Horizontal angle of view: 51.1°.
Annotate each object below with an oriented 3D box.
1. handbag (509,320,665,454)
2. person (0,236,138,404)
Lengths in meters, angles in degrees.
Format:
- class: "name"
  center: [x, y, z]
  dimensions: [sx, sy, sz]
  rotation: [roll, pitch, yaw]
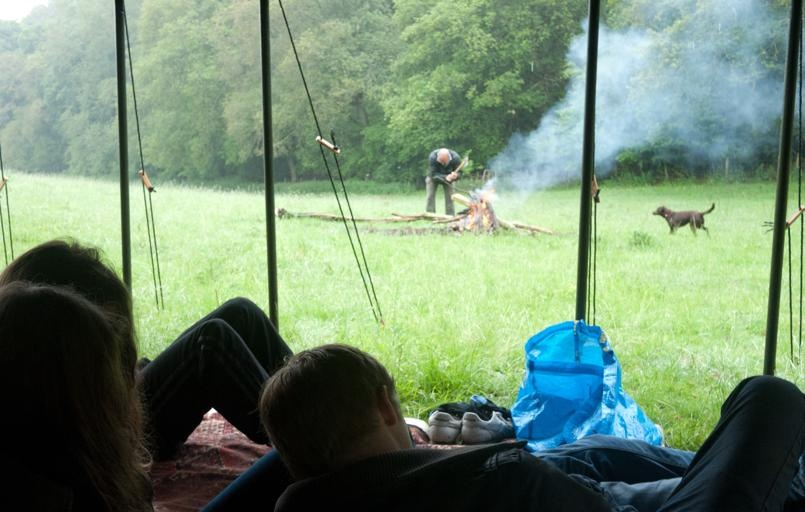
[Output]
- class: "handbag"
  center: [1.995, 1.545, 9.861]
  dimensions: [1.237, 0.913, 1.747]
  rotation: [-9, 43, 3]
- class: "person"
  center: [-3.596, 0.487, 9.225]
  dimensions: [1.147, 1.614, 1.544]
  rotation: [-10, 5, -23]
